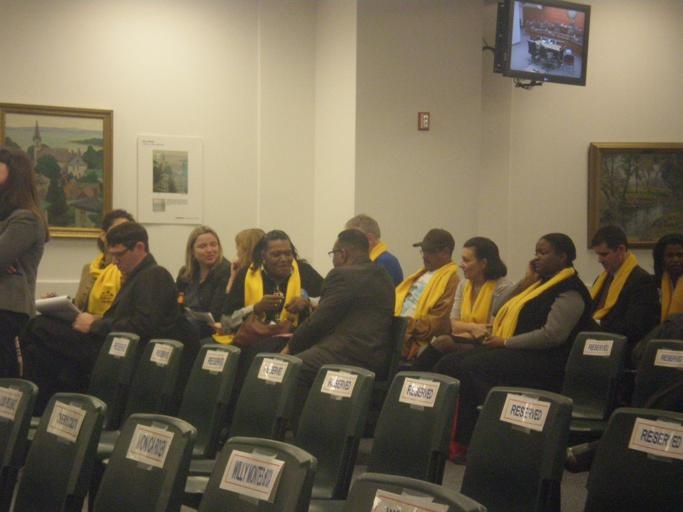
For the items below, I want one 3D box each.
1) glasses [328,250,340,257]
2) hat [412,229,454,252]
[{"bbox_3d":[-0.067,-0.025,4.903,0.069,0.022,0.070,-2,-9,-32],"label":"glasses"},{"bbox_3d":[0.854,-0.120,5.196,0.245,0.163,0.191,8,-1,2],"label":"hat"}]
